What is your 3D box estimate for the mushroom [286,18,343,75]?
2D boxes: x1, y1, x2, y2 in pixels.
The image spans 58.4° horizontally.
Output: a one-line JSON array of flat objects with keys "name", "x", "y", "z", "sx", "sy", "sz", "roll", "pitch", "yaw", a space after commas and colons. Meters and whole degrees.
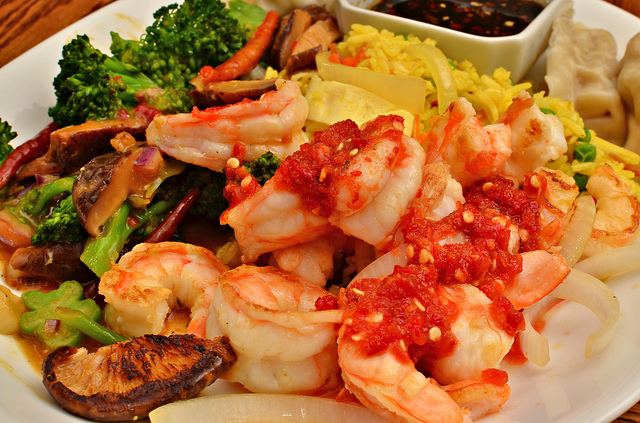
[{"name": "mushroom", "x": -0.061, "y": -1.830, "z": 6.257, "sx": 0.406, "sy": 0.255, "sz": 0.843, "roll": 23, "pitch": 62, "yaw": 28}]

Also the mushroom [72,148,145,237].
[{"name": "mushroom", "x": -1.897, "y": -0.248, "z": 5.072, "sx": 0.471, "sy": 0.203, "sz": 0.831, "roll": 31, "pitch": 71, "yaw": 19}]

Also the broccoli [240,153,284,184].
[{"name": "broccoli", "x": -0.505, "y": -0.386, "z": 5.091, "sx": 0.327, "sy": 0.167, "sz": 0.255, "roll": 7, "pitch": 77, "yaw": -11}]

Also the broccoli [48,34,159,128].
[{"name": "broccoli", "x": -2.124, "y": -1.183, "z": 5.680, "sx": 0.982, "sy": 0.672, "sz": 0.883, "roll": -7, "pitch": 80, "yaw": 1}]

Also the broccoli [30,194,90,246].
[{"name": "broccoli", "x": -2.252, "y": 0.047, "z": 4.951, "sx": 0.458, "sy": 0.196, "sz": 0.395, "roll": -9, "pitch": 100, "yaw": -3}]

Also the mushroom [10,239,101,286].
[{"name": "mushroom", "x": -2.320, "y": 0.452, "z": 5.037, "sx": 0.676, "sy": 0.296, "sz": 0.343, "roll": -5, "pitch": 64, "yaw": 4}]
